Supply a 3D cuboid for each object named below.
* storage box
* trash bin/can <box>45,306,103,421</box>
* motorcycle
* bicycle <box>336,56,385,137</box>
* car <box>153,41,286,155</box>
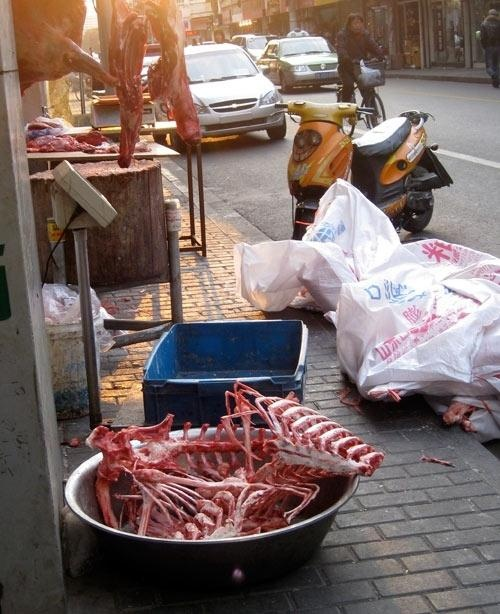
[{"bbox_3d":[-0.182,0.381,2.959,1.106,0.444,0.926,-2,17,-7],"label":"storage box"},{"bbox_3d":[-0.888,0.341,3.297,0.437,0.506,0.454,2,23,-11],"label":"trash bin/can"},{"bbox_3d":[1.217,-1.467,6.213,1.959,1.491,0.774,-10,17,-30],"label":"motorcycle"},{"bbox_3d":[2.686,-5.130,13.477,1.169,1.509,2.536,-7,32,3],"label":"bicycle"},{"bbox_3d":[-0.880,-5.675,14.662,2.595,2.115,4.544,-11,30,-8],"label":"car"}]
